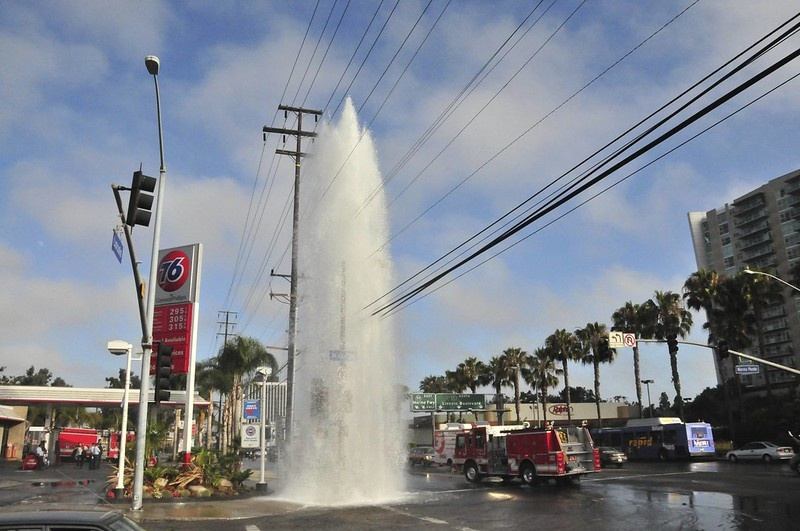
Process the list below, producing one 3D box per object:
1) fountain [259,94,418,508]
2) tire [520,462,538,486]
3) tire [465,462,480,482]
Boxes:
[{"bbox_3d":[-2.912,1.606,34.159,5.880,21.606,5.071,-2,-16,-1],"label":"fountain"},{"bbox_3d":[7.984,12.895,38.589,0.276,1.389,1.402,8,-20,-31],"label":"tire"},{"bbox_3d":[4.970,14.153,42.747,0.506,1.541,1.448,7,-6,-35],"label":"tire"}]
